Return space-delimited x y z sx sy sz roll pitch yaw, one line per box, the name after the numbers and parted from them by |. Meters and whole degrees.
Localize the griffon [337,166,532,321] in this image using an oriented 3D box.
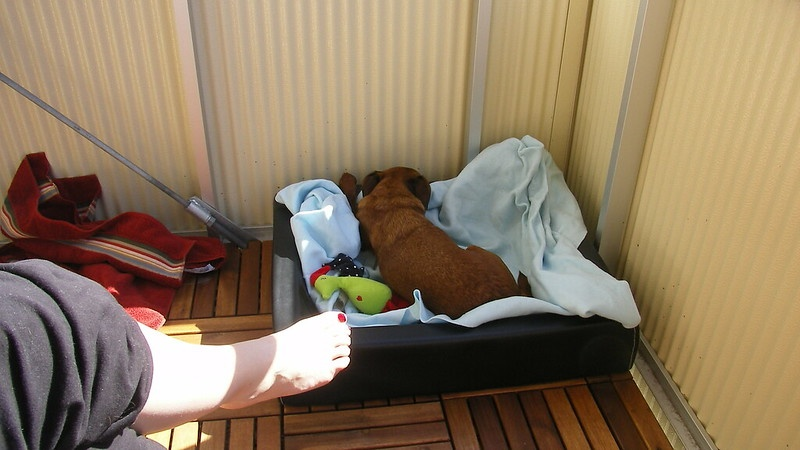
0.108 0.118 2.974 0.621 0.422 1.141 -24 50 -9 | griffon

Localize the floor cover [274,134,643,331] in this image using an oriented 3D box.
0.447 0.126 2.960 1.554 0.398 1.317 -14 48 -16 | floor cover
